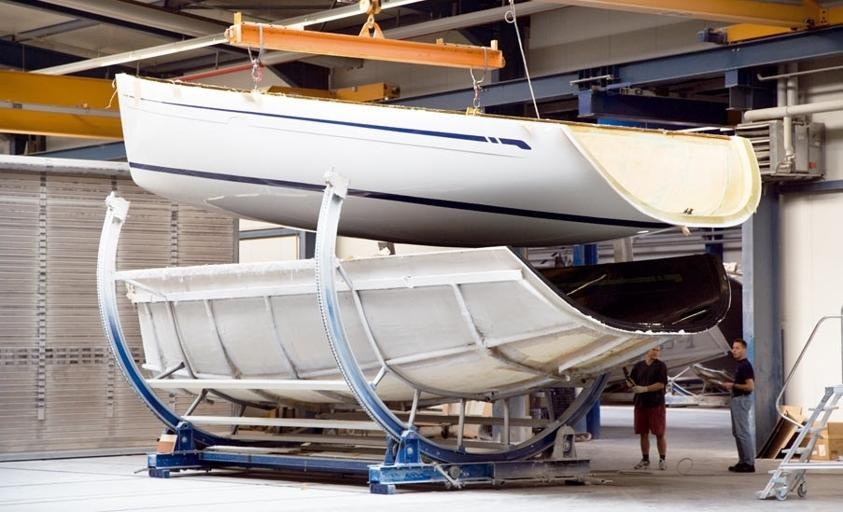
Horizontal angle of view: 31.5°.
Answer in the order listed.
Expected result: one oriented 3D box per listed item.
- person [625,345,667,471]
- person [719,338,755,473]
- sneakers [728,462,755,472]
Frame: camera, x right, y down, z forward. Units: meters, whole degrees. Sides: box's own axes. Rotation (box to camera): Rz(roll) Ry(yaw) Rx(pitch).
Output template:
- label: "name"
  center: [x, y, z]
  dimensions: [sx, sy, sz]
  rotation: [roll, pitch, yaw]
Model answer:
- label: "person"
  center: [3.793, 2.464, 24.847]
  dimensions: [0.610, 2.048, 1.061]
  rotation: [-4, 5, 8]
- label: "person"
  center: [5.286, 2.461, 24.768]
  dimensions: [0.482, 2.124, 0.879]
  rotation: [-3, 5, 11]
- label: "sneakers"
  center: [5.280, 3.473, 24.611]
  dimensions: [0.433, 0.122, 0.152]
  rotation: [-4, -9, 19]
